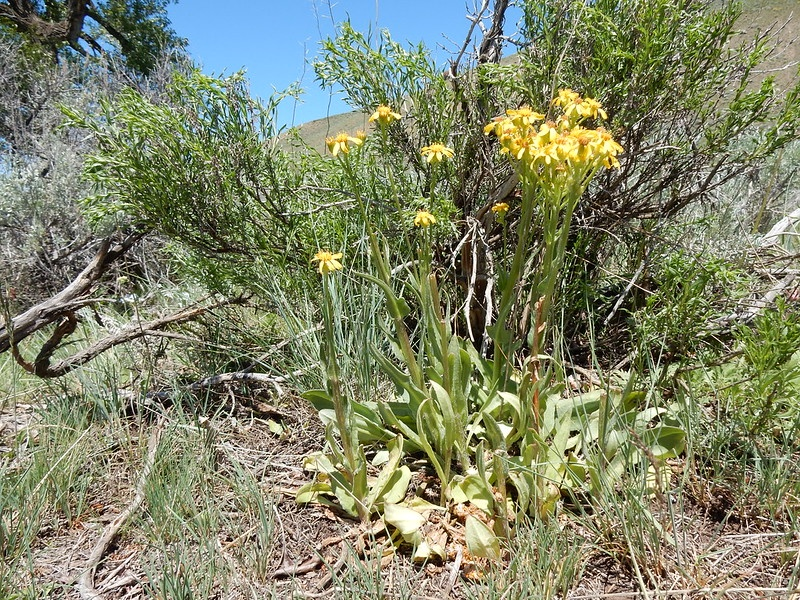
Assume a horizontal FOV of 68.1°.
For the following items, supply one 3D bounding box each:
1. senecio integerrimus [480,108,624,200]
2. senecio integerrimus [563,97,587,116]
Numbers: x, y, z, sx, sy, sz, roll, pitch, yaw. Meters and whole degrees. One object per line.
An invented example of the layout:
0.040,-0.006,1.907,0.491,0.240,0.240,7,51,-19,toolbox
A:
0.541,-0.652,2.259,0.384,0.256,0.418,-7,40,-17,senecio integerrimus
0.664,-0.734,2.250,0.084,0.070,0.155,1,24,17,senecio integerrimus
